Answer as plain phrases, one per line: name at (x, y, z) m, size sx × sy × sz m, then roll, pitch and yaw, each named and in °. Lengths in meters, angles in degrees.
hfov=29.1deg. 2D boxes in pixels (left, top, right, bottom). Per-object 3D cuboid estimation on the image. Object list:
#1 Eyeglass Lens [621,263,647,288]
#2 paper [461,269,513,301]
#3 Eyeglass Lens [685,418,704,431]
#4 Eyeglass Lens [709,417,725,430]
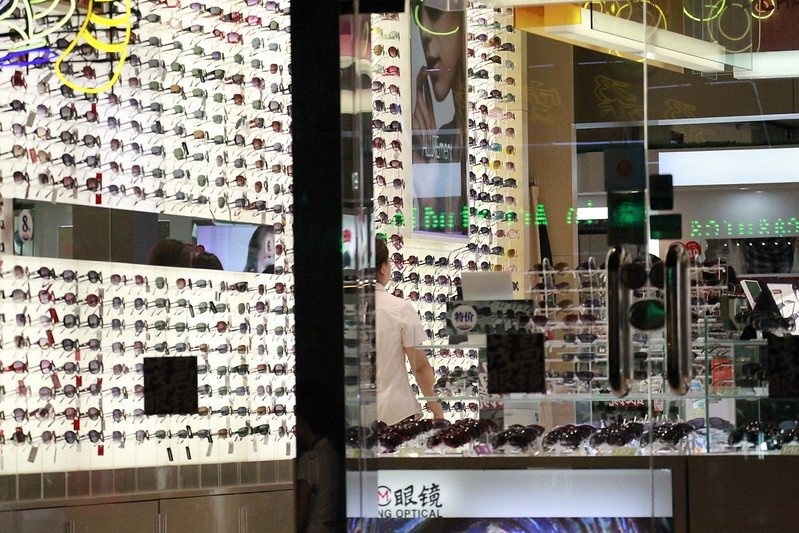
Eyeglass Lens at (1.126, 0.037, 7.490) m, size 0.124 × 0.115 × 0.110 m, roll -1°, pitch -1°, yaw 3°
paper at (0.439, 0.093, 7.909) m, size 0.237 × 0.141 × 0.159 m, roll -1°, pitch -14°, yaw 7°
Eyeglass Lens at (1.476, 0.788, 7.716) m, size 0.080 × 0.061 × 0.027 m, roll -3°, pitch -1°, yaw 41°
Eyeglass Lens at (1.584, 0.781, 7.680) m, size 0.092 × 0.058 × 0.018 m, roll -2°, pitch -1°, yaw 7°
